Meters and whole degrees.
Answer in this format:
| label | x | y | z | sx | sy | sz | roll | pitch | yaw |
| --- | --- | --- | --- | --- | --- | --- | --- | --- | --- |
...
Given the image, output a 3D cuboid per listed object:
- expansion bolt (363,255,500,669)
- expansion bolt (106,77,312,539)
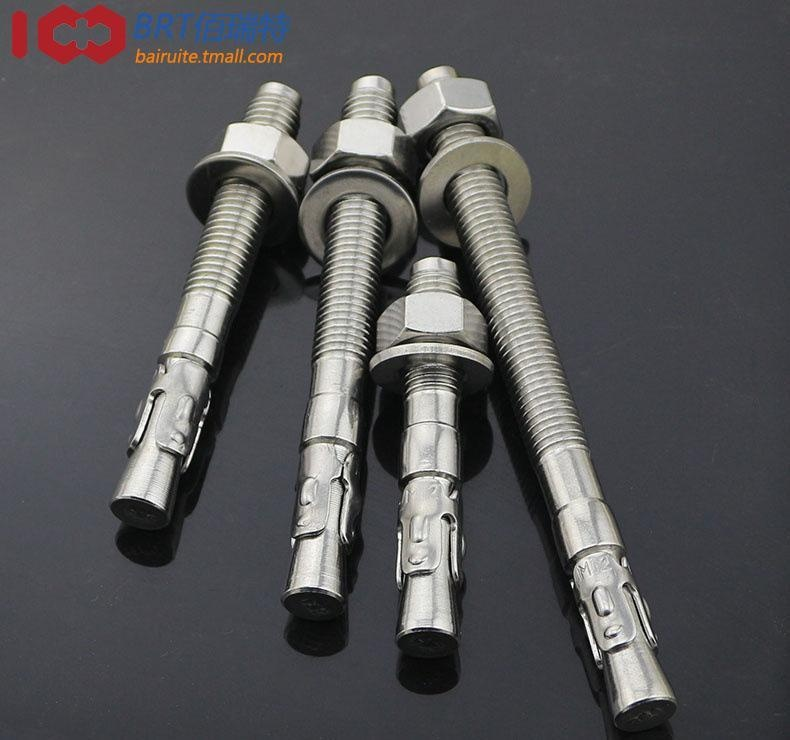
| label | x | y | z | sx | sy | sz | roll | pitch | yaw |
| --- | --- | --- | --- | --- | --- | --- | --- | --- | --- |
| expansion bolt | 0.040 | 0.077 | 1.093 | 0.138 | 0.468 | 0.126 | -2 | -41 | 5 |
| expansion bolt | -0.220 | -0.104 | 1.239 | 0.130 | 0.632 | 0.139 | 18 | -32 | -11 |
